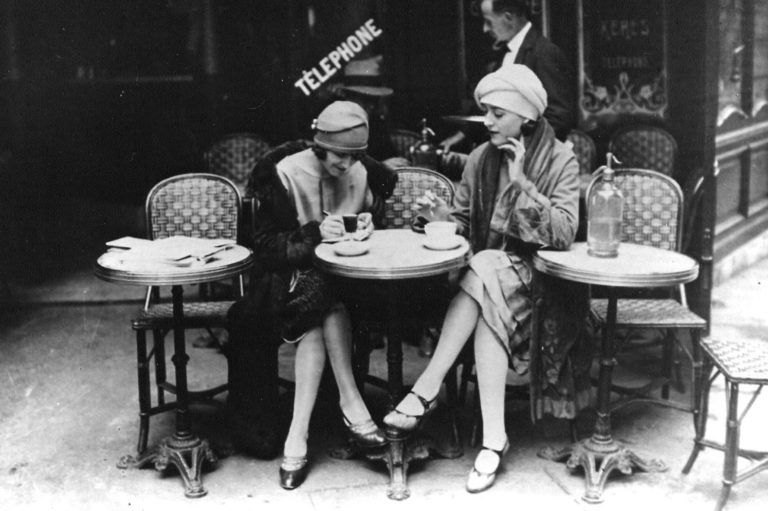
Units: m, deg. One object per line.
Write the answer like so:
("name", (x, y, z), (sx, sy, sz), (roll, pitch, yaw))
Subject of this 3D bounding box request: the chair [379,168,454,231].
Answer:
("chair", (0.225, -0.402, 5.913), (0.478, 0.658, 0.473), (0, -3, 2))

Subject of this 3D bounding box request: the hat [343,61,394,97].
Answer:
("hat", (-0.155, -1.559, 6.691), (0.345, 0.179, 0.302), (10, 16, 33))

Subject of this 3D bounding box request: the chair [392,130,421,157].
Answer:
("chair", (0.193, -1.088, 7.224), (0.253, 0.335, 0.253), (5, 26, 7))

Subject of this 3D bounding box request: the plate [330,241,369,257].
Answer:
("plate", (-0.214, -0.047, 4.724), (0.241, 0.083, 0.225), (0, 10, 9))

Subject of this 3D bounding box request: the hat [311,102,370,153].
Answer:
("hat", (-0.281, -0.853, 4.977), (0.330, 0.261, 0.310), (6, 18, 21))

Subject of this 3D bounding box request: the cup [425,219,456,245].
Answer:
("cup", (0.349, -0.145, 4.792), (0.153, 0.111, 0.142), (-2, 7, 0))

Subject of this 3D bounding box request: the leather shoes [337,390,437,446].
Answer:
("leather shoes", (0.018, 1.064, 4.777), (0.156, 0.307, 0.566), (21, -38, -38))

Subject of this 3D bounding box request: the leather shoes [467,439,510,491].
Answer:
("leather shoes", (0.653, 1.318, 4.768), (0.141, 0.120, 0.411), (5, 48, 33))
